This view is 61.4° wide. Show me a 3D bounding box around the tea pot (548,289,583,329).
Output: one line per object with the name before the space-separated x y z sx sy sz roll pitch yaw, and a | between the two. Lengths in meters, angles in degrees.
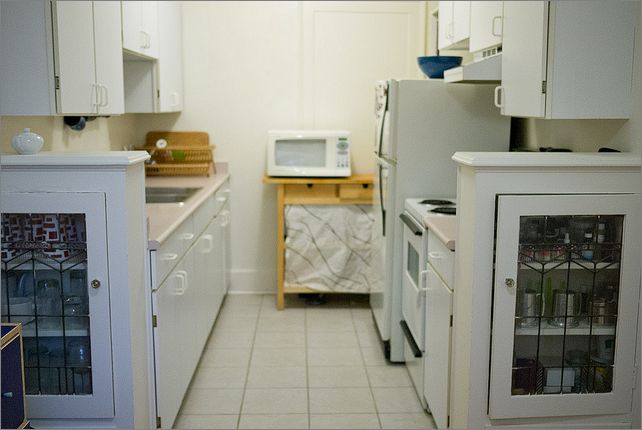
tea pot | 1.098 0.419 2.492 0.168 0.185 0.152 -1 8 -9

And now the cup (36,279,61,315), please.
cup | -1.249 0.389 2.449 0.102 0.161 0.099 -2 0 0

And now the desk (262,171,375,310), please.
desk | 0.020 0.202 4.433 1.110 1.035 0.493 0 7 -3

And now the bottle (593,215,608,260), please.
bottle | 1.226 0.113 2.390 0.041 0.175 0.055 -3 15 -26

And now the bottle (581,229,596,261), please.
bottle | 1.176 0.127 2.366 0.060 0.138 0.015 -2 8 -16

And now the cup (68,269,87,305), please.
cup | -1.086 0.326 2.432 0.074 0.123 0.079 -2 -10 0

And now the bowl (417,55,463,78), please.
bowl | 0.779 -0.958 3.554 0.189 0.092 0.192 0 9 0

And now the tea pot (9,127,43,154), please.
tea pot | -1.336 -0.334 2.437 0.120 0.120 0.118 0 11 0

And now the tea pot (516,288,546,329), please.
tea pot | 0.957 0.421 2.438 0.148 0.149 0.091 5 -5 -21

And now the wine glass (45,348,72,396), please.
wine glass | -1.205 0.716 2.490 0.117 0.199 0.121 -2 -8 19

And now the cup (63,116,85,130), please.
cup | -1.583 -0.579 3.442 0.088 0.077 0.082 -5 -8 -1
